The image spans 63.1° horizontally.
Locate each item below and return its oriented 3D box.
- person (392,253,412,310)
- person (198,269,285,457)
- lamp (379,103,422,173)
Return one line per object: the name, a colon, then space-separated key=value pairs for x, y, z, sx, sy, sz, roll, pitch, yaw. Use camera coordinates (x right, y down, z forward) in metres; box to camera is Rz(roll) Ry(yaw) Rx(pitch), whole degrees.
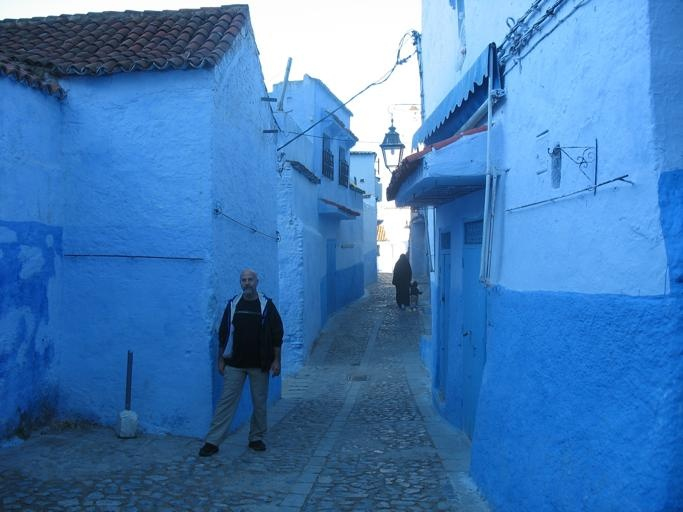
person: x=2.106 y=0.885 z=19.239 sx=0.618 sy=1.539 sz=0.981 roll=2 pitch=-1 yaw=5
person: x=-1.214 y=1.292 z=6.883 sx=0.922 sy=2.164 sz=0.513 roll=3 pitch=-1 yaw=-12
lamp: x=1.482 y=-2.941 z=13.904 sx=0.890 sy=1.895 sz=0.564 roll=-1 pitch=-13 yaw=18
